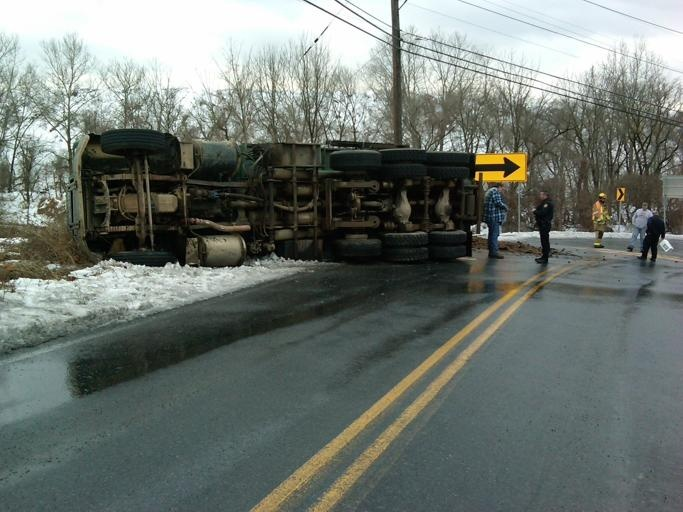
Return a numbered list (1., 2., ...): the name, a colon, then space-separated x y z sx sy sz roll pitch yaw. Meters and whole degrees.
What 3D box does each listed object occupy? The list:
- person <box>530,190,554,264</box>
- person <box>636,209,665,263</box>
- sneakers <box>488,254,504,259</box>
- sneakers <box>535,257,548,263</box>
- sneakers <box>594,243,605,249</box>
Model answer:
1. person: 5.877 -0.831 16.974 0.522 2.084 1.195 2 8 18
2. person: 10.329 -0.604 19.300 0.644 1.585 3.587 4 9 28
3. sneakers: 4.796 0.033 17.979 0.487 0.229 0.173 -2 8 -2
4. sneakers: 5.763 0.137 16.749 0.346 0.166 0.133 8 22 23
5. sneakers: 10.610 -0.396 23.955 0.393 0.179 0.137 -14 33 -19
